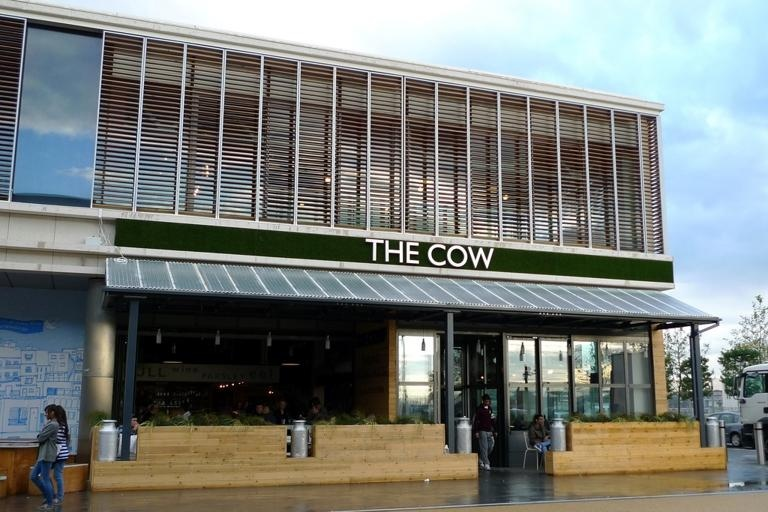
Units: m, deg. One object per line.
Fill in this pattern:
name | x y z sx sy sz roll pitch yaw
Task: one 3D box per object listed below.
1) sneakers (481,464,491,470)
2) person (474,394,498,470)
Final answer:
sneakers | 3.172 6.532 24.927 0.156 0.152 0.422 5 -13 -17
person | 3.137 5.493 25.116 0.631 2.273 0.754 -3 -13 4
